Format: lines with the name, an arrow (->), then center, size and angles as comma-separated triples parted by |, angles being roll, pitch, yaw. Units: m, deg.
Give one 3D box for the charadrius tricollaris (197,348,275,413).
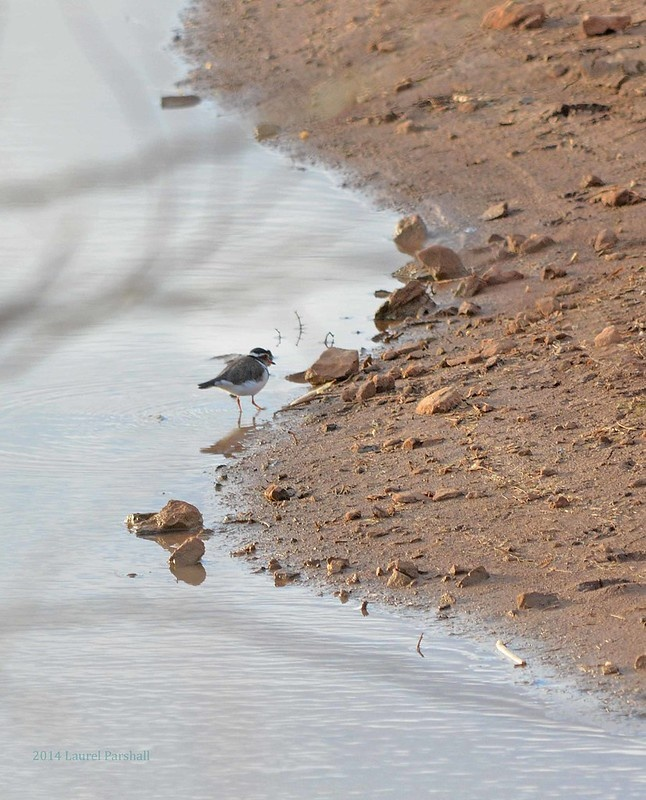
charadrius tricollaris -> -0.705, -0.249, 10.822 | 0.954, 0.553, 0.450 | -5, 3, -42
